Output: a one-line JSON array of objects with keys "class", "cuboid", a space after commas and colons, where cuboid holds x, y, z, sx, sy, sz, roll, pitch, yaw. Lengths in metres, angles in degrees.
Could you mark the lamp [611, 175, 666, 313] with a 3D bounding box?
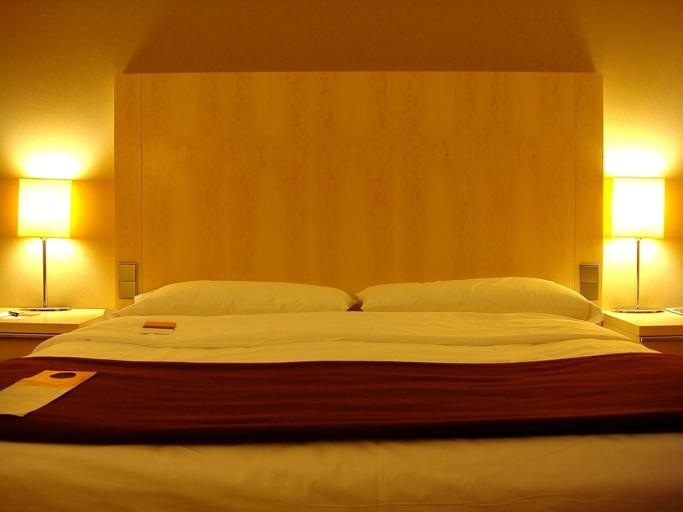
[{"class": "lamp", "cuboid": [1.726, -0.062, 3.592, 0.335, 0.767, 0.315, 1, 13, 8]}]
